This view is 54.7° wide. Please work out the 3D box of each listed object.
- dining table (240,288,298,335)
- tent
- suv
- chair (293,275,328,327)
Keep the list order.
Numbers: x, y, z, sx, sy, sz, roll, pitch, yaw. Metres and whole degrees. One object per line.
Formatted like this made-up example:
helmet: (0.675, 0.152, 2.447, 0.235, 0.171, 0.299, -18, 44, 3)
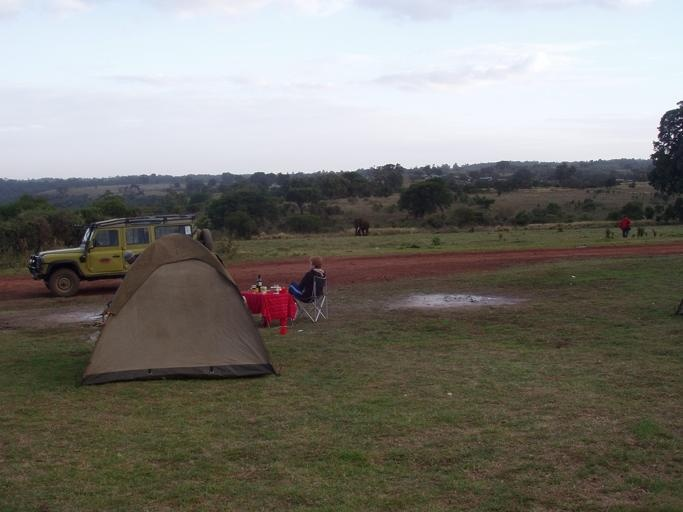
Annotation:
dining table: (-1.785, 1.250, 16.121, 1.792, 1.025, 1.171, -2, 3, -13)
tent: (-3.300, 1.096, 13.264, 2.959, 2.696, 3.226, -2, 14, -18)
suv: (-6.569, -0.125, 20.490, 5.222, 2.389, 2.736, 0, 1, -11)
chair: (-0.784, 1.099, 16.383, 0.758, 1.033, 0.718, -5, -2, 19)
